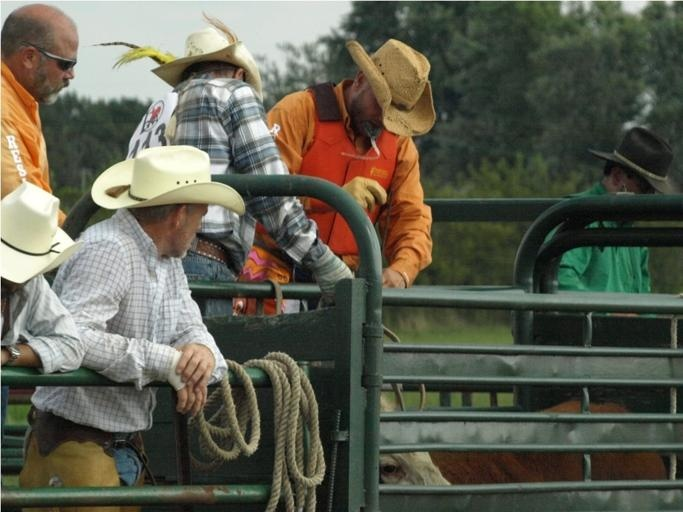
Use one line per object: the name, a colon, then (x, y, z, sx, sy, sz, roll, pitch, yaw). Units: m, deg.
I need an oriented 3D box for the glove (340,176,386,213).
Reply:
glove: (0.264, -0.781, 26.074, 0.478, 0.412, 0.867, 4, 15, 1)

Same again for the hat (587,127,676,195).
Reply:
hat: (3.754, -1.292, 27.625, 0.909, 0.458, 0.892, 26, 6, 37)

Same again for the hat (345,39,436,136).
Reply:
hat: (0.623, -2.094, 26.409, 0.551, 1.256, 0.960, -43, -25, 26)

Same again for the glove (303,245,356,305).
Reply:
glove: (-0.126, 0.203, 25.350, 0.497, 0.711, 1.058, -4, -1, -2)

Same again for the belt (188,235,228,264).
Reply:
belt: (-1.558, -0.068, 25.687, 0.346, 0.127, 0.325, 21, -7, 16)
